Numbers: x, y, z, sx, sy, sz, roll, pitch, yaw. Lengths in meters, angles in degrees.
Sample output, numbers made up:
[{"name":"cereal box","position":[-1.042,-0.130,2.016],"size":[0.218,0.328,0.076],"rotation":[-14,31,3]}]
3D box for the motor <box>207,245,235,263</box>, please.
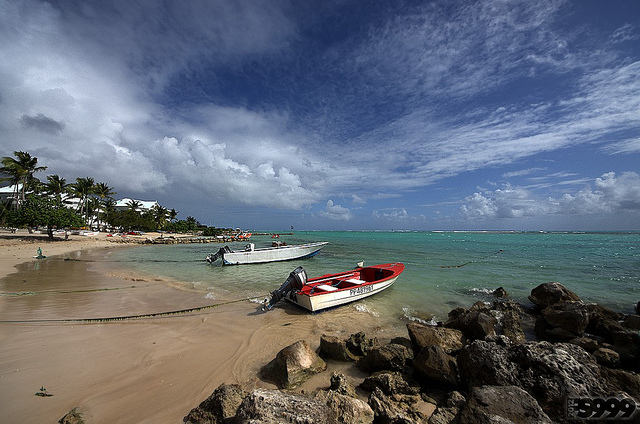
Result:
[{"name":"motor","position":[-10.850,4.682,34.231],"size":[2.733,1.049,1.515],"rotation":[-29,35,-7]}]
